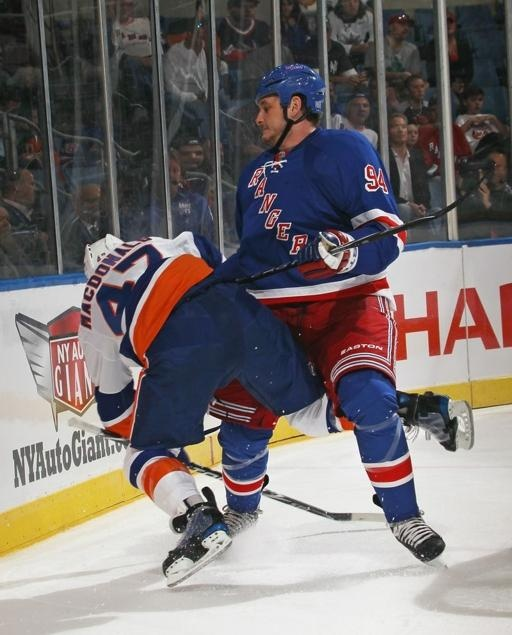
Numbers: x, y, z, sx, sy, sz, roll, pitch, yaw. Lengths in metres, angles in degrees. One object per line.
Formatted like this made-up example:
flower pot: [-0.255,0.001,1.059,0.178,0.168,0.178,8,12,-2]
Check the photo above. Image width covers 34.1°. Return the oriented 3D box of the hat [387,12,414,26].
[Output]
hat: [1.050,-2.182,6.092,0.109,0.068,0.149,2,5,-37]

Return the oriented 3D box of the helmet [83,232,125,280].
helmet: [-0.536,-0.217,2.857,0.192,0.158,0.132,7,19,-13]

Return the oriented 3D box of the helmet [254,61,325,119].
helmet: [0.125,-0.762,2.891,0.240,0.161,0.162,-1,-2,-7]

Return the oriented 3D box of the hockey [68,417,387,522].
hockey: [-0.137,0.591,3.166,1.348,0.090,0.211,16,-40,-7]

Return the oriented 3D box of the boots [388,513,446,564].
boots: [0.490,0.659,2.493,0.082,0.082,0.213,-14,8,-22]
